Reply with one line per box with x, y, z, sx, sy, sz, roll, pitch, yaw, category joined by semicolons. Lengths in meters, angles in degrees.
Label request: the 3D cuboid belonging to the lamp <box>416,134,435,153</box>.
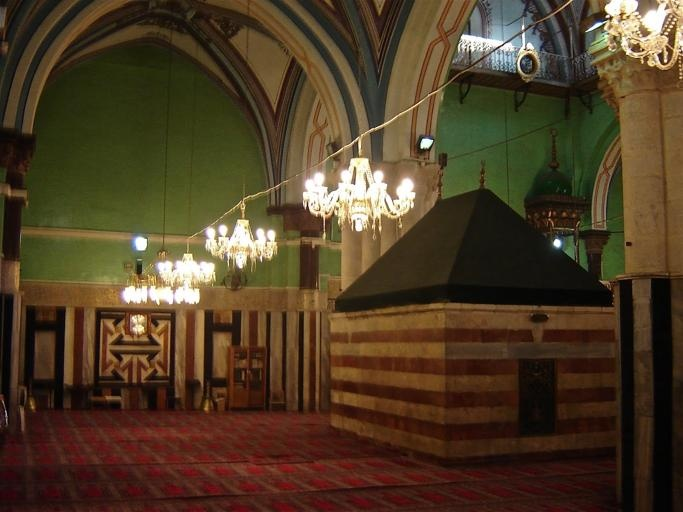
1.316;-1.787;12.473;0.226;0.240;0.132;2;31;-27;lamp

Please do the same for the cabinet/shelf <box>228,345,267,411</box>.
-1.928;2.456;16.321;0.730;1.418;0.409;1;16;-7;cabinet/shelf

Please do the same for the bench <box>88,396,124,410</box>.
-4.704;2.939;15.835;0.641;0.262;0.114;0;-1;-18;bench

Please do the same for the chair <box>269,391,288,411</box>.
-1.291;2.988;16.194;0.308;0.376;0.317;11;-16;-29;chair
